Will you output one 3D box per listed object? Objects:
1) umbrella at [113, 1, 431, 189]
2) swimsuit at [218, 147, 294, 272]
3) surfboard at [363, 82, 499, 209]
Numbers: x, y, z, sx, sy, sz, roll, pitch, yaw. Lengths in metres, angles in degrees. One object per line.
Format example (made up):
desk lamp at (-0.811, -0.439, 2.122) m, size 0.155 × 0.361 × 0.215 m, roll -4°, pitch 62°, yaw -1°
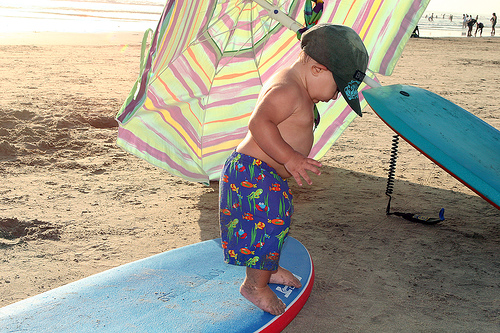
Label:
umbrella at (-0.094, -0.859, 5.827) m, size 2.491 × 2.518 × 0.862 m, roll -43°, pitch 28°, yaw 9°
swimsuit at (0.068, 0.289, 3.963) m, size 0.602 × 0.909 × 0.454 m, roll 3°, pitch 18°, yaw 7°
surfboard at (1.754, -0.284, 4.643) m, size 1.026 × 0.192 × 1.448 m, roll -15°, pitch 51°, yaw -43°
